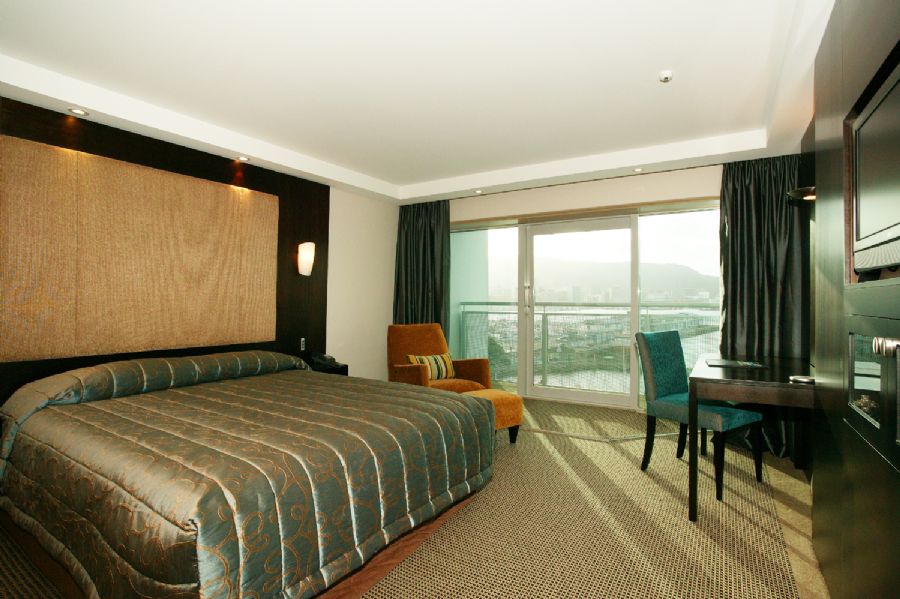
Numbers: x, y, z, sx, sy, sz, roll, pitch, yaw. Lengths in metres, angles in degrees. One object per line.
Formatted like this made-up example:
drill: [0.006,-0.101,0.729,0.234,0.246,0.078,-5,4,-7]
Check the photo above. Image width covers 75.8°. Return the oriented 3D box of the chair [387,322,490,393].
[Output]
chair: [-0.106,0.588,6.002,0.753,0.988,0.804,3,-8,-33]

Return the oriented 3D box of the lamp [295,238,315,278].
lamp: [-1.529,-0.428,6.194,0.226,0.373,0.152,-8,13,-36]

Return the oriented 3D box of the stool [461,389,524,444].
stool: [0.402,0.970,5.282,0.579,0.490,0.565,-1,0,41]

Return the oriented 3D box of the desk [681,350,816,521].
desk: [2.184,1.094,4.471,0.955,1.084,1.729,-1,-1,24]

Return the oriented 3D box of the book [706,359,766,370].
book: [2.244,0.497,4.577,0.397,0.035,0.506,-2,1,-40]
